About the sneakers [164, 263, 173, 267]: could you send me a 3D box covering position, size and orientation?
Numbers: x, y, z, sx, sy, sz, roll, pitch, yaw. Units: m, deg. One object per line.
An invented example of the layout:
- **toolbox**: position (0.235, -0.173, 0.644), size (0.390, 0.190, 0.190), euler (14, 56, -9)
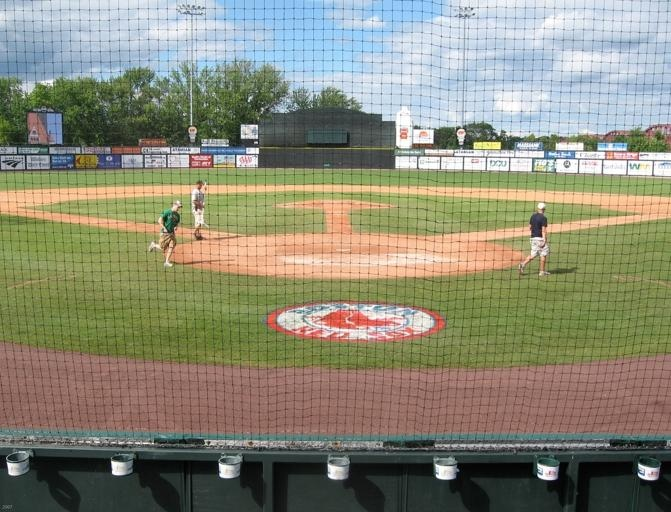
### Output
- **sneakers**: position (-4.618, 0.219, 33.238), size (0.263, 0.138, 0.077), euler (-4, 21, -7)
